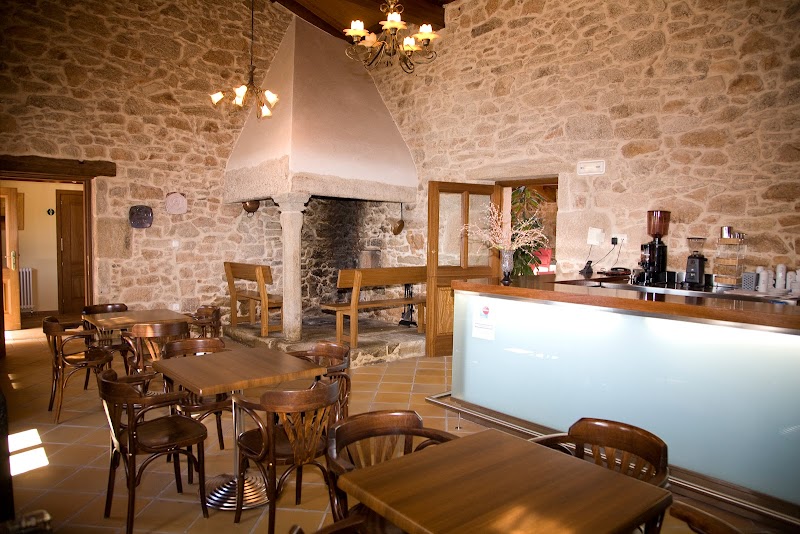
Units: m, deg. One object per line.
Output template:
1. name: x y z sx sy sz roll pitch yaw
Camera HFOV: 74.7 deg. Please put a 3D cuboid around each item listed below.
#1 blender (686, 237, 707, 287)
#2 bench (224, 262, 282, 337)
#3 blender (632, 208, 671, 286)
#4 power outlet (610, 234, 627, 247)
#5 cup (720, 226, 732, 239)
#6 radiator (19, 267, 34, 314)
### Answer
1. blender: 3.537 -0.073 6.254 0.227 0.613 0.551 1 1 29
2. bench: -2.536 0.570 8.983 0.574 0.789 1.283 -4 8 -35
3. blender: 3.087 -0.252 6.401 0.363 0.920 0.748 1 1 26
4. power outlet: 2.938 -0.360 7.031 0.284 0.179 0.154 2 4 39
5. cup: 3.863 -0.413 6.186 0.164 0.143 0.107 0 1 9
6. radiator: -7.229 0.429 10.258 0.235 0.866 0.131 -1 2 -35
